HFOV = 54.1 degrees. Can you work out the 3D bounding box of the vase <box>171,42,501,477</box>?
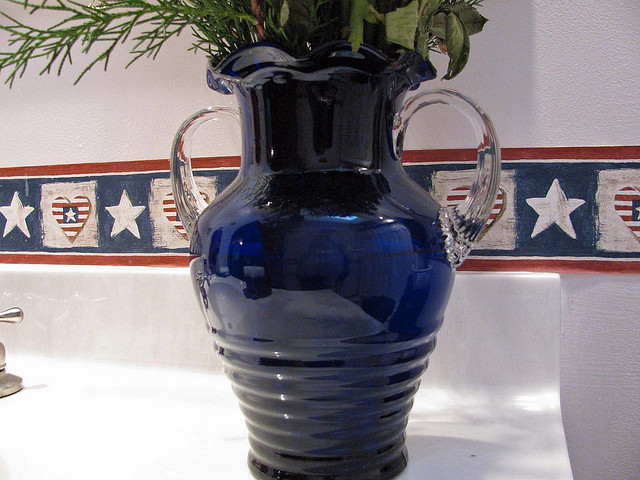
[{"bbox_3d":[0.023,0.052,0.922,0.372,0.565,0.409,5,14,-38],"label":"vase"}]
